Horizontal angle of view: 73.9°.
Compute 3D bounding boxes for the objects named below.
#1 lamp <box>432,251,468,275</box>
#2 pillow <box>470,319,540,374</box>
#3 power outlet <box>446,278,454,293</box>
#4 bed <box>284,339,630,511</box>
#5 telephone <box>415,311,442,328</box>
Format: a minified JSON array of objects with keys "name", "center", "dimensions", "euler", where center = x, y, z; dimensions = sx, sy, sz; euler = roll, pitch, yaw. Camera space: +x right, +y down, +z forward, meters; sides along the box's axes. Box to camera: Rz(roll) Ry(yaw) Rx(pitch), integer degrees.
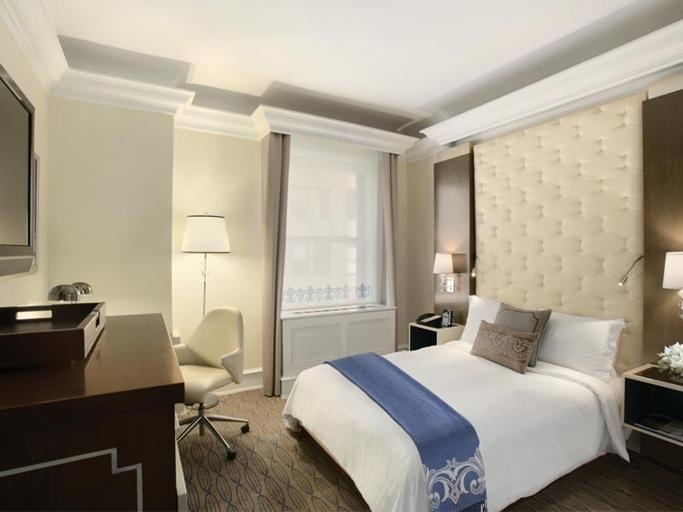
[{"name":"lamp","center":[1.190,0.077,4.905],"dimensions":[0.248,0.187,0.256],"euler":[-3,-6,2]},{"name":"pillow","center":[1.356,0.756,3.766],"dimensions":[0.129,0.324,0.453],"euler":[22,-6,-23]},{"name":"power outlet","center":[1.217,0.318,5.068],"dimensions":[0.036,0.180,0.123],"euler":[-12,16,-41]},{"name":"bed","center":[0.837,1.195,3.381],"dimensions":[2.270,0.485,1.397],"euler":[-4,12,-13]},{"name":"telephone","center":[0.985,0.716,5.094],"dimensions":[0.160,0.172,0.150],"euler":[3,-14,-22]}]
